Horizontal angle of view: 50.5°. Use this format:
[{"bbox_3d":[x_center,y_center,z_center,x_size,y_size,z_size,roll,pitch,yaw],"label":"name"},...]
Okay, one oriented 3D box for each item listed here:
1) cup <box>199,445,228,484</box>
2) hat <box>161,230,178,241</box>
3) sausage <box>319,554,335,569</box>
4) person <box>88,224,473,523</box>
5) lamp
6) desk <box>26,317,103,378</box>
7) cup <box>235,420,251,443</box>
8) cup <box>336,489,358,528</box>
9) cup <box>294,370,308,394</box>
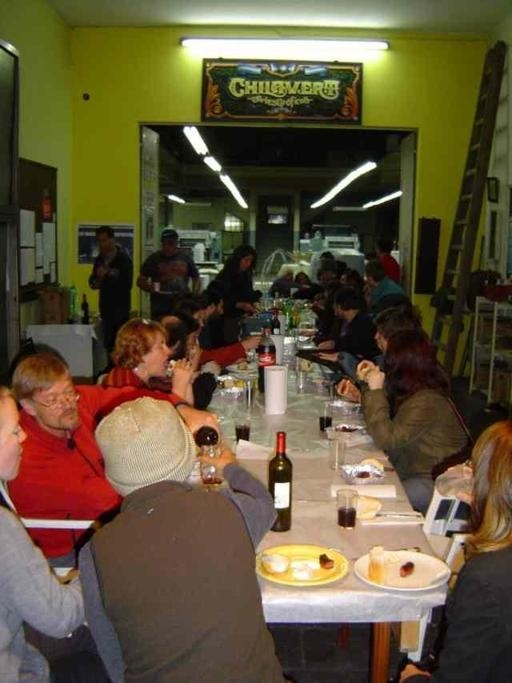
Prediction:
[{"bbox_3d":[-0.116,0.325,1.440,0.092,0.125,0.084,0,-5,-2],"label":"cup"},{"bbox_3d":[-1.123,-1.357,6.997,0.149,0.151,0.197,2,24,6],"label":"hat"},{"bbox_3d":[0.171,0.524,1.295,0.032,0.023,0.018,5,-1,-8],"label":"sausage"},{"bbox_3d":[0.387,0.282,2.551,1.016,1.702,0.794,-5,7,6],"label":"person"},{"bbox_3d":[0.260,-3.596,6.677,2.348,0.252,0.213,1,11,-2],"label":"lamp"},{"bbox_3d":[-2.033,0.044,5.768,0.754,0.512,0.547,-1,5,-7],"label":"desk"},{"bbox_3d":[-0.056,0.385,2.300,0.077,0.106,0.070,0,0,0],"label":"cup"},{"bbox_3d":[0.259,0.469,1.549,0.056,0.111,0.085,4,11,10],"label":"cup"},{"bbox_3d":[0.292,0.264,3.495,0.116,0.175,0.107,1,-6,0],"label":"cup"}]
